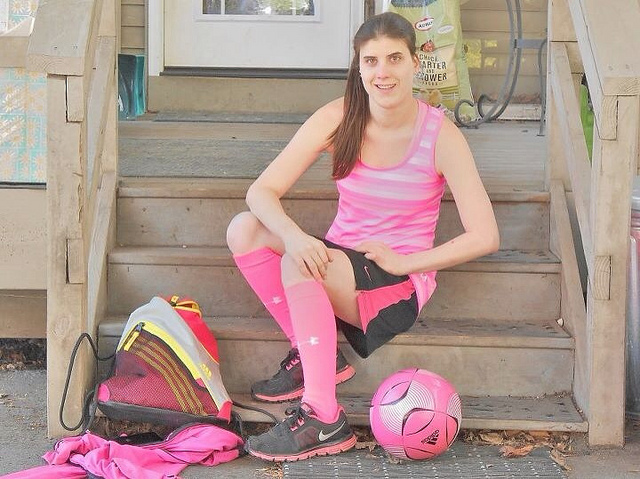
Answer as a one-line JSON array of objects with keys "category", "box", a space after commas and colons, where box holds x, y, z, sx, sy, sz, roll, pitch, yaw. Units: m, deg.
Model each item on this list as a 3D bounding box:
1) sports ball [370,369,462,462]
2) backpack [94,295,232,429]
[{"category": "sports ball", "box": [0.291, 0.543, 2.295, 0.271, 0.263, 0.100, 0, 9, 3]}, {"category": "backpack", "box": [-0.510, 0.401, 2.509, 0.471, 0.437, 0.313, 5, 8, 0]}]
